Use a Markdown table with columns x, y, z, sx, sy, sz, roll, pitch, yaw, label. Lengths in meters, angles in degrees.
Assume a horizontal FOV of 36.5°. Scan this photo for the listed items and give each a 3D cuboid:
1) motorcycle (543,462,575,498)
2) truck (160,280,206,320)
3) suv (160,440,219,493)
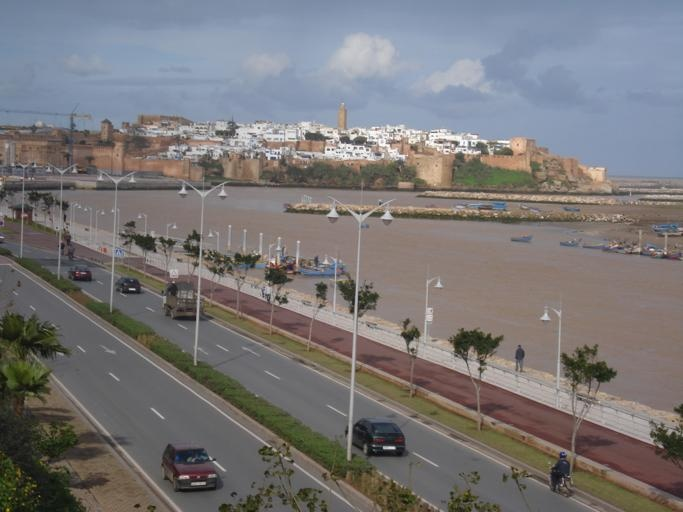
| x | y | z | sx | sy | sz | roll | pitch | yaw | label |
| --- | --- | --- | --- | --- | --- | --- | --- | --- | --- |
| 11.351 | 11.554 | 53.851 | 0.867 | 1.232 | 1.832 | -1 | 14 | -12 | motorcycle |
| -12.383 | 3.322 | 79.367 | 2.798 | 2.749 | 1.720 | 9 | 11 | 39 | truck |
| -7.633 | 10.536 | 51.910 | 2.397 | 2.199 | 1.928 | -1 | 3 | -26 | suv |
